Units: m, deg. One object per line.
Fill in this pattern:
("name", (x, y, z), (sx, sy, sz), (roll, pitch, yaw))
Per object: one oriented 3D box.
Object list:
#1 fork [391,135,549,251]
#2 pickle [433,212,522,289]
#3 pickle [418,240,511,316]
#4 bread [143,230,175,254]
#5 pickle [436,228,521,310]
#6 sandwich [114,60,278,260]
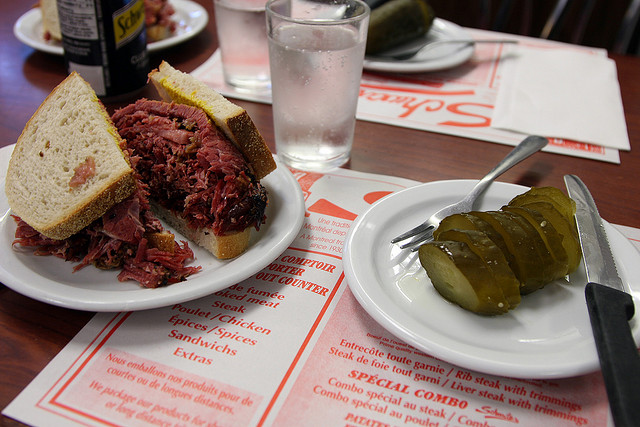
("fork", (0.379, -0.046, 1.228), (0.522, 0.058, 0.073), (-32, 53, -22))
("pickle", (0.334, 0.066, 1.050), (0.044, 0.130, 0.171), (-31, 70, -11))
("pickle", (0.308, 0.128, 1.002), (0.160, 0.158, 0.044), (50, 60, -16))
("bread", (-0.376, 0.066, 1.101), (0.059, 0.021, 0.052), (1, 90, 5))
("pickle", (0.332, 0.085, 1.025), (0.190, 0.138, 0.218), (10, 20, 0))
("sandwich", (-0.368, -0.190, 1.380), (0.282, 0.237, 0.782), (-35, 46, -16))
